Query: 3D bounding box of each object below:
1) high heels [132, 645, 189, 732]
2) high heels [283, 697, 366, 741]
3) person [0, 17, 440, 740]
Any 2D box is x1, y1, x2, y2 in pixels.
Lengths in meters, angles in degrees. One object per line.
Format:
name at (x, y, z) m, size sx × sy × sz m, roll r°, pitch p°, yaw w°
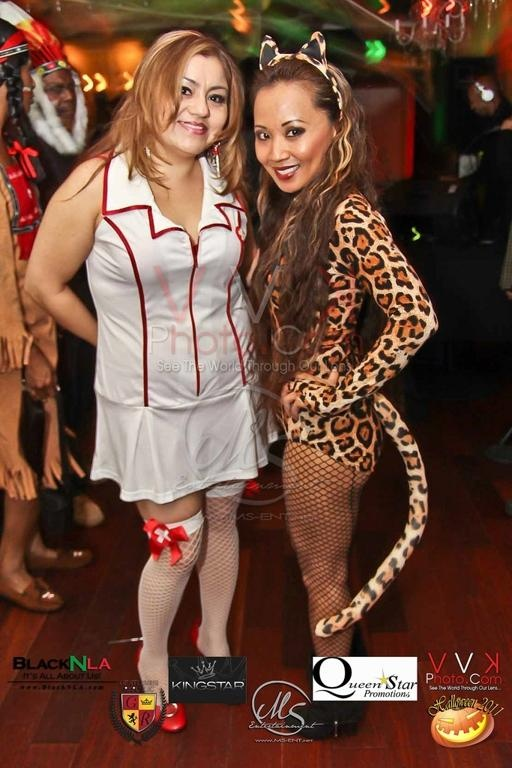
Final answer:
high heels at (-0.182, 0.733, 1.482) m, size 0.196 × 0.203 × 0.096 m, roll 2°, pitch 16°, yaw 2°
high heels at (0.154, 0.734, 1.434) m, size 0.197 × 0.132 × 0.071 m, roll 1°, pitch 8°, yaw 4°
person at (-0.039, 0.070, 1.227) m, size 0.598 × 1.296 × 0.570 m, roll -17°, pitch 39°, yaw -22°
